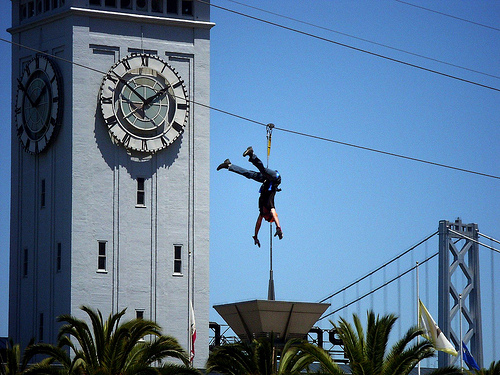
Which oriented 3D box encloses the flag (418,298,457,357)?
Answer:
[{"bbox_3d":[13.978,10.756,113.698,2.042,5.190,5.626,3,-19,-6],"label":"flag"}]
